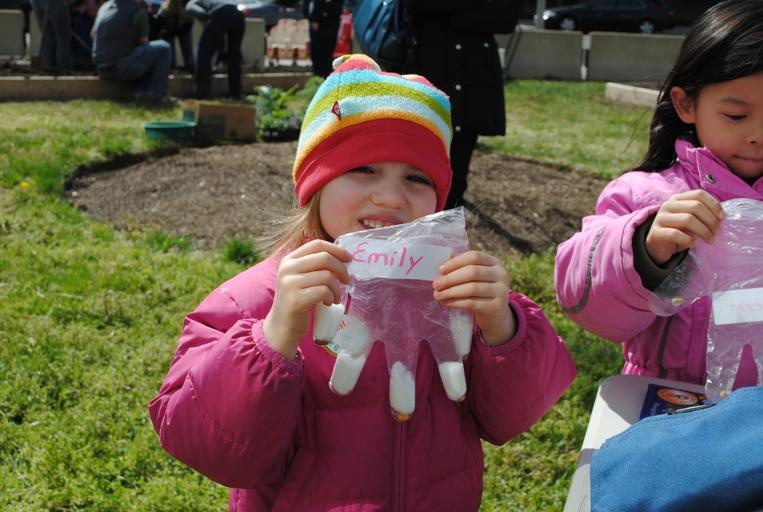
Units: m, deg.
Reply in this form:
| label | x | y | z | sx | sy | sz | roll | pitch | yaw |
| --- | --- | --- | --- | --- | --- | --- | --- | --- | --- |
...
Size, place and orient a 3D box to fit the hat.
| label | x | y | z | sx | sy | sz | roll | pitch | yaw |
| --- | --- | --- | --- | --- | --- | --- | --- | --- | --- |
| hat | -0.031 | -0.524 | 3.025 | 0.624 | 0.695 | 0.701 | 5 | -7 | 5 |

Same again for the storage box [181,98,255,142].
| label | x | y | z | sx | sy | sz | roll | pitch | yaw |
| --- | --- | --- | --- | --- | --- | --- | --- | --- | --- |
| storage box | -0.990 | -0.804 | 4.259 | 0.409 | 0.280 | 0.228 | -1 | 1 | -17 |
